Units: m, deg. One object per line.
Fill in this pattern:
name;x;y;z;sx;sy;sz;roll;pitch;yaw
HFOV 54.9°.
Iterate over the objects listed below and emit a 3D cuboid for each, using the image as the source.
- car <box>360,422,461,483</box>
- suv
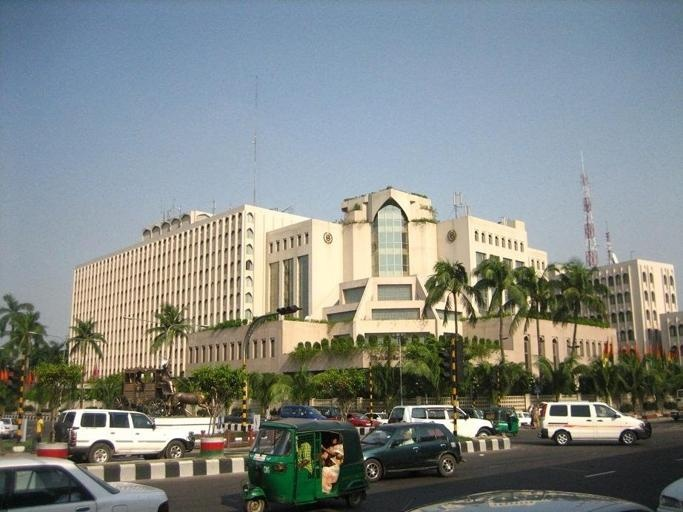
car;2.206;6.673;22.156;2.828;1.390;1.760;9;-20;-23
suv;-8.559;6.841;25.854;4.249;1.822;2.076;6;-17;-29
